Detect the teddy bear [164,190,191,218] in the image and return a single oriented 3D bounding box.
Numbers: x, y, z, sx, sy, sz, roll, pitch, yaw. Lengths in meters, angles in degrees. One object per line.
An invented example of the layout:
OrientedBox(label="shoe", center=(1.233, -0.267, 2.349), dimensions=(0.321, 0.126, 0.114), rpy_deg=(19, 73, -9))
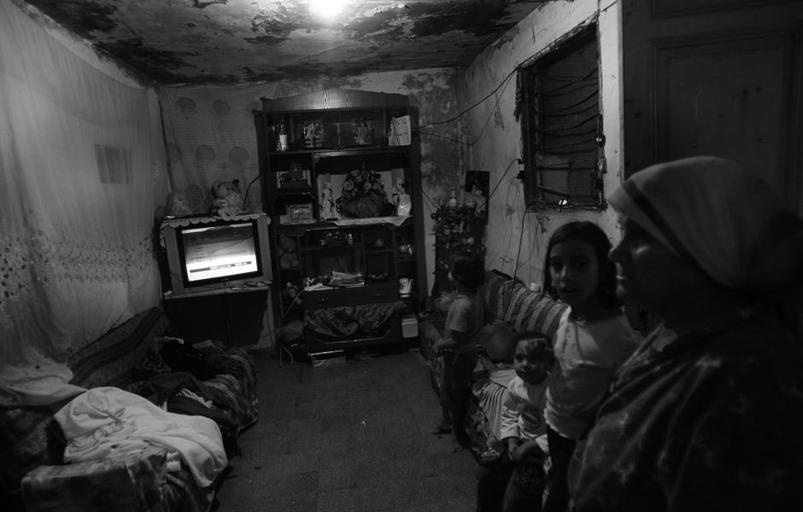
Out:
OrientedBox(label="teddy bear", center=(-2.049, -0.476, 5.405), dimensions=(0.193, 0.226, 0.314), rpy_deg=(-7, 8, -17))

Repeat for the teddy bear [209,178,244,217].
OrientedBox(label="teddy bear", center=(-1.647, -0.545, 5.557), dimensions=(0.330, 0.391, 0.264), rpy_deg=(8, -30, -40))

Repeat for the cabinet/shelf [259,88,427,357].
OrientedBox(label="cabinet/shelf", center=(-0.504, -0.339, 5.764), dimensions=(1.619, 2.488, 0.730), rpy_deg=(-6, 8, -11))

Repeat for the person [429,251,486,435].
OrientedBox(label="person", center=(0.400, 0.609, 3.948), dimensions=(0.340, 1.248, 0.292), rpy_deg=(-4, 8, 6))

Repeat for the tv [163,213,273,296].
OrientedBox(label="tv", center=(-1.754, -0.048, 5.585), dimensions=(1.294, 0.851, 0.685), rpy_deg=(-5, 4, -30))

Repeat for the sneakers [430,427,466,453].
OrientedBox(label="sneakers", center=(0.324, 1.266, 4.128), dimensions=(0.265, 0.130, 0.095), rpy_deg=(1, 5, 40))

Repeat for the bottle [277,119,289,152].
OrientedBox(label="bottle", center=(-1.128, -1.129, 5.636), dimensions=(0.109, 0.287, 0.209), rpy_deg=(-6, 8, -9))
